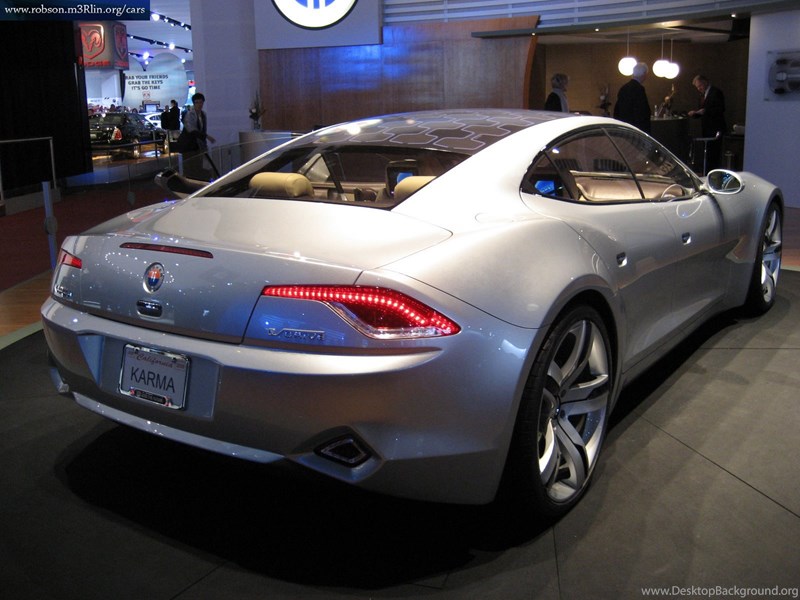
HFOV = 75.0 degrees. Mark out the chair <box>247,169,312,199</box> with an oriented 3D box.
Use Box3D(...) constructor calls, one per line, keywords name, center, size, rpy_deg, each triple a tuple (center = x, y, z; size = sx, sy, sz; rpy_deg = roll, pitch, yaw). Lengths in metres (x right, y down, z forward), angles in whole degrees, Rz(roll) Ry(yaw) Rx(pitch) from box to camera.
Box3D(name="chair", center=(-0.551, -0.514, 2.408), size=(0.293, 0.157, 0.108), rpy_deg=(6, -6, 33))
